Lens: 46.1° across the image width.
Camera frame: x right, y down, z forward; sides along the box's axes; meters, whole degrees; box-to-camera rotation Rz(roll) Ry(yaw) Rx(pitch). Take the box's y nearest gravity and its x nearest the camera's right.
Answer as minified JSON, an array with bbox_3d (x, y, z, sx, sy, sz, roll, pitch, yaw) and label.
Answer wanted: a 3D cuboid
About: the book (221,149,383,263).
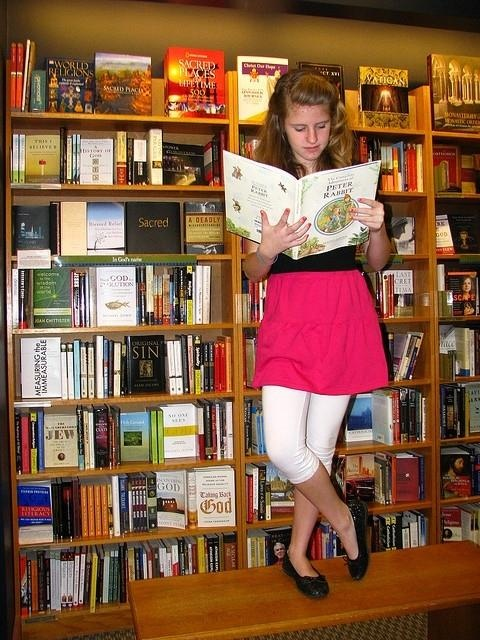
[{"bbox_3d":[0.151,-0.293,1.452,0.386,0.258,0.323,-3,-5,1],"label":"book"}]

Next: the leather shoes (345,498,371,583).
[{"bbox_3d":[0.366,0.662,1.711,0.067,0.210,0.074,-5,-1,-30],"label":"leather shoes"}]

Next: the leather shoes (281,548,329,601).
[{"bbox_3d":[0.186,0.739,1.637,0.066,0.062,0.147,5,2,-30],"label":"leather shoes"}]

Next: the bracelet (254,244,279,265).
[{"bbox_3d":[0.064,-0.172,1.499,0.042,0.023,0.056,3,-12,13],"label":"bracelet"}]
